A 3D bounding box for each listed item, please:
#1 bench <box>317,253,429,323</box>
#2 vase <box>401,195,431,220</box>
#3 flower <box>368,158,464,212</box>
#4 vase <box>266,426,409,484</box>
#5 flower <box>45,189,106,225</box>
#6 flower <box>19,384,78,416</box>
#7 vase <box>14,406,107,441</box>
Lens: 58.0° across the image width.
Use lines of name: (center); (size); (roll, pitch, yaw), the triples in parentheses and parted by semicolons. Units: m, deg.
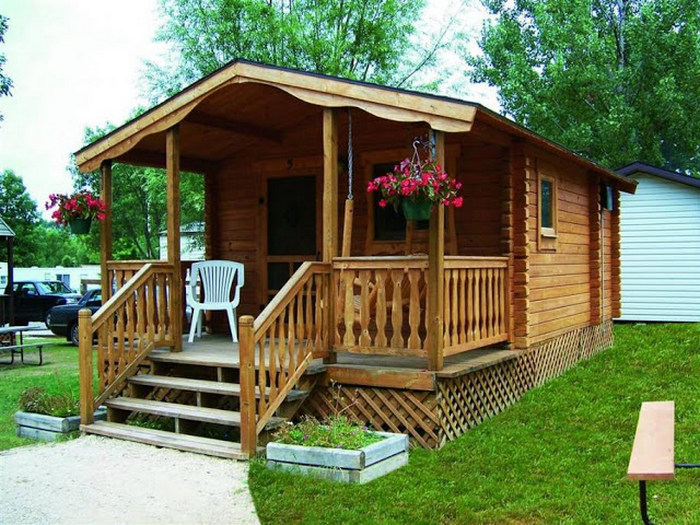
bench: (0.492, 0.242, 7.898); (0.762, 0.782, 1.156); (0, 4, 44)
vase: (0.737, -0.611, 7.094); (0.244, 0.189, 0.256); (1, -5, -6)
flower: (0.788, -0.875, 7.211); (0.861, 0.633, 0.888); (-2, 10, -34)
vase: (-0.082, 1.969, 6.289); (1.476, 0.329, 0.506); (-1, 4, -10)
flower: (-4.144, -0.835, 9.563); (0.594, 0.444, 0.586); (1, 0, -22)
flower: (-3.866, 1.821, 8.182); (0.558, 0.275, 0.437); (6, 5, 17)
vase: (-3.817, 2.049, 7.951); (0.932, 0.306, 0.364); (2, 5, 30)
